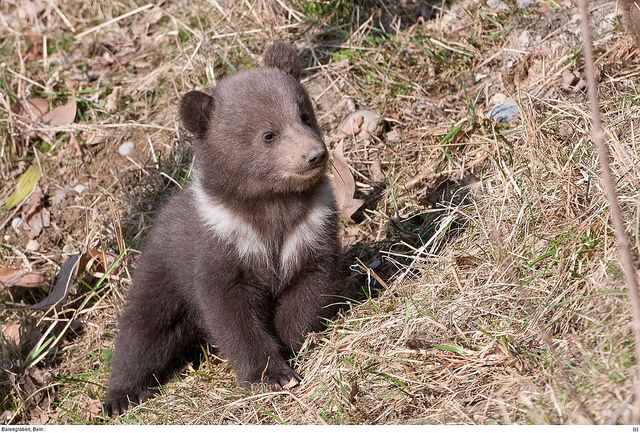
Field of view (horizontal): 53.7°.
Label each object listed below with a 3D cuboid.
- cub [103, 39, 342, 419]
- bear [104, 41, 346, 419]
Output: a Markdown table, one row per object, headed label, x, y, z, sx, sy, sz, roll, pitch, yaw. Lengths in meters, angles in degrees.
| label | x | y | z | sx | sy | sz | roll | pitch | yaw |
| --- | --- | --- | --- | --- | --- | --- | --- | --- | --- |
| cub | -1.121 | 0.268 | 6.419 | 2.227 | 3.061 | 3.296 | -10 | 2 | -32 |
| bear | -1.024 | 0.314 | 6.410 | 1.991 | 3.019 | 2.789 | -6 | 84 | -37 |
